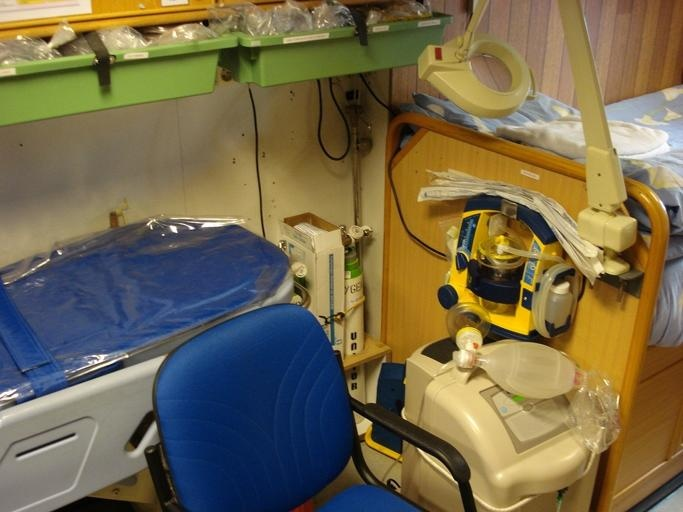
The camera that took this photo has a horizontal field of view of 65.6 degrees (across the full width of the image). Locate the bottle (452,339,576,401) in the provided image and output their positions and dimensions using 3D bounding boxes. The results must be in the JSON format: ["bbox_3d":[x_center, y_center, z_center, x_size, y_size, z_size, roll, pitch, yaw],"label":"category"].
[{"bbox_3d":[0.525,0.340,1.635,0.323,0.130,0.178,11,65,4],"label":"bottle"}]
